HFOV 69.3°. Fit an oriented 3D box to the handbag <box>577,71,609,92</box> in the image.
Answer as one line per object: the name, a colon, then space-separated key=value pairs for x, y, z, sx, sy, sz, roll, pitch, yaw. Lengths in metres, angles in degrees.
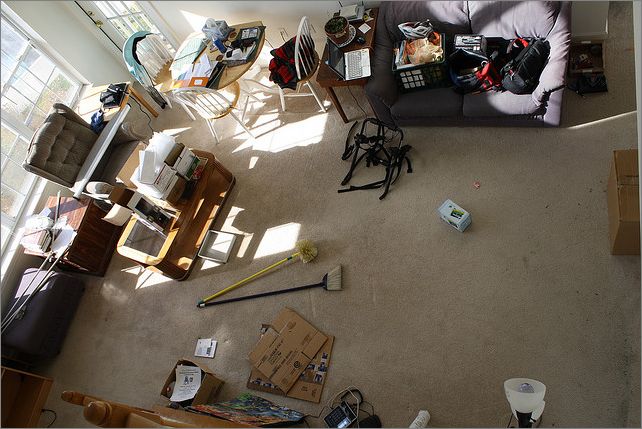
handbag: x=3.107 y=-1.515 z=5.345 sx=0.254 sy=0.085 sz=0.263 roll=2 pitch=82 yaw=10

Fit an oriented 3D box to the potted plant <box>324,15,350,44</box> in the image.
potted plant: x=0.230 y=-2.276 z=5.756 sx=0.298 sy=0.210 sz=0.285 roll=-16 pitch=6 yaw=-38

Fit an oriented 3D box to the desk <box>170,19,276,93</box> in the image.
desk: x=-1.003 y=-2.010 z=5.785 sx=1.322 sy=0.319 sz=0.941 roll=17 pitch=83 yaw=22

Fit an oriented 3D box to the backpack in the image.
backpack: x=2.169 y=-1.598 z=4.955 sx=0.246 sy=0.443 sz=0.587 roll=21 pitch=91 yaw=-11

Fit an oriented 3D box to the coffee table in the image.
coffee table: x=-1.842 y=-0.011 z=5.877 sx=0.851 sy=0.661 sz=1.479 roll=13 pitch=73 yaw=26

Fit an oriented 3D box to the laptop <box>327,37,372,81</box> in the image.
laptop: x=0.376 y=-1.795 z=5.591 sx=0.428 sy=0.320 sz=0.448 roll=-14 pitch=68 yaw=21

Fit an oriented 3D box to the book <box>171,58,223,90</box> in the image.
book: x=-1.497 y=-1.708 z=5.732 sx=0.475 sy=0.113 sz=0.480 roll=6 pitch=68 yaw=17

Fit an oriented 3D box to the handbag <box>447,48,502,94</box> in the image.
handbag: x=1.714 y=-1.575 z=5.199 sx=0.543 sy=0.521 sz=0.401 roll=-4 pitch=51 yaw=31

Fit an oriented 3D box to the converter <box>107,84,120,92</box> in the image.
converter: x=-2.816 y=-1.699 z=6.333 sx=0.148 sy=0.053 sz=0.111 roll=16 pitch=51 yaw=-2

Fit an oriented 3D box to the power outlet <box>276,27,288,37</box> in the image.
power outlet: x=-0.510 y=-2.533 z=6.457 sx=0.191 sy=0.079 sz=0.040 roll=27 pitch=34 yaw=6

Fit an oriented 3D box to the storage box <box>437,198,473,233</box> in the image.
storage box: x=1.500 y=0.013 z=5.185 sx=0.183 sy=0.159 sz=0.331 roll=-44 pitch=48 yaw=-5

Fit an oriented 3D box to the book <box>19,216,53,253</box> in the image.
book: x=-3.573 y=0.223 z=5.948 sx=0.346 sy=0.158 sz=0.488 roll=3 pitch=57 yaw=1

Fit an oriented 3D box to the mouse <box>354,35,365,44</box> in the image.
mouse: x=0.476 y=-2.106 z=5.590 sx=0.117 sy=0.038 sz=0.067 roll=38 pitch=95 yaw=19

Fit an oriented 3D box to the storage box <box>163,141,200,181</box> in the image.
storage box: x=-1.579 y=-0.626 z=5.617 sx=0.289 sy=0.165 sz=0.303 roll=35 pitch=104 yaw=2

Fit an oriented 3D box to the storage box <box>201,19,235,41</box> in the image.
storage box: x=-1.295 y=-2.358 z=5.923 sx=0.298 sy=0.324 sz=0.305 roll=3 pitch=92 yaw=8

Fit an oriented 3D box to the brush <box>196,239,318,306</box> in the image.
brush: x=-0.703 y=0.710 z=5.504 sx=0.903 sy=0.274 sz=0.272 roll=-30 pitch=47 yaw=3

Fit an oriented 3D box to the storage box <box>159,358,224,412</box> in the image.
storage box: x=-1.433 y=1.823 z=5.021 sx=0.440 sy=0.248 sz=0.489 roll=1 pitch=50 yaw=-5

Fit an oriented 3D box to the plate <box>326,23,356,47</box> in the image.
plate: x=0.282 y=-2.160 z=5.559 sx=0.270 sy=0.055 sz=0.276 roll=-27 pitch=76 yaw=6

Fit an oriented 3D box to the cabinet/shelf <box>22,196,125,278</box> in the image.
cabinet/shelf: x=-3.490 y=0.415 z=6.175 sx=1.170 sy=1.173 sz=0.739 roll=-36 pitch=37 yaw=53

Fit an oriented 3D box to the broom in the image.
broom: x=-0.645 y=0.829 z=5.268 sx=1.934 sy=0.160 sz=0.554 roll=-9 pitch=69 yaw=11

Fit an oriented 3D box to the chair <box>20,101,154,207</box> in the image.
chair: x=-2.961 y=-0.452 z=6.036 sx=1.232 sy=1.359 sz=1.155 roll=45 pitch=115 yaw=43

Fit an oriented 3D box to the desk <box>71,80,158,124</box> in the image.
desk: x=-2.957 y=-1.584 z=6.719 sx=0.718 sy=0.663 sz=0.733 roll=-32 pitch=73 yaw=8

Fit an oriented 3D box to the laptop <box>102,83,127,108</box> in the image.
laptop: x=-2.782 y=-1.610 z=6.342 sx=0.284 sy=0.103 sz=0.351 roll=7 pitch=77 yaw=15
